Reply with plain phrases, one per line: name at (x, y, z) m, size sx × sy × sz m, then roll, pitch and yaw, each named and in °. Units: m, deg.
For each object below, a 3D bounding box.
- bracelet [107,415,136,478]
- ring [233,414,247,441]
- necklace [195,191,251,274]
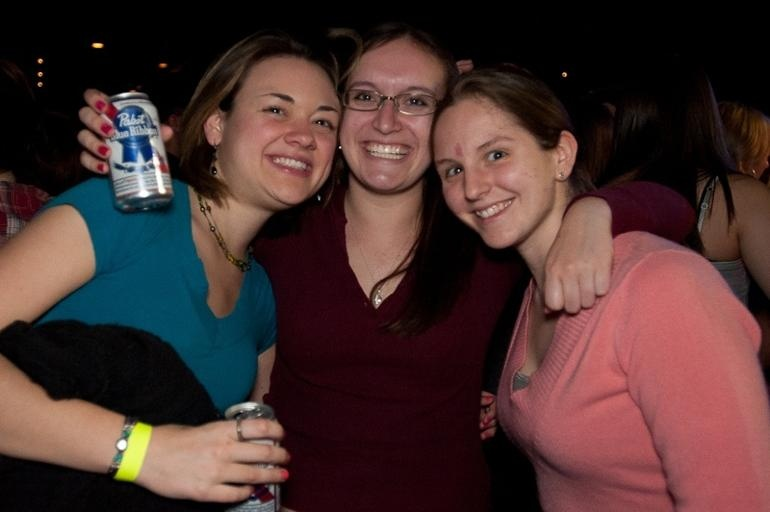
bracelet at (-1.022, 0.742, 2.389) m, size 0.062 × 0.180 × 0.125 m, roll 5°, pitch 23°, yaw 10°
ring at (-0.561, 0.680, 2.425) m, size 0.026 × 0.071 × 0.066 m, roll -7°, pitch 14°, yaw -6°
necklace at (-0.755, -0.103, 2.962) m, size 0.079 × 0.362 × 0.231 m, roll -18°, pitch 12°, yaw 27°
